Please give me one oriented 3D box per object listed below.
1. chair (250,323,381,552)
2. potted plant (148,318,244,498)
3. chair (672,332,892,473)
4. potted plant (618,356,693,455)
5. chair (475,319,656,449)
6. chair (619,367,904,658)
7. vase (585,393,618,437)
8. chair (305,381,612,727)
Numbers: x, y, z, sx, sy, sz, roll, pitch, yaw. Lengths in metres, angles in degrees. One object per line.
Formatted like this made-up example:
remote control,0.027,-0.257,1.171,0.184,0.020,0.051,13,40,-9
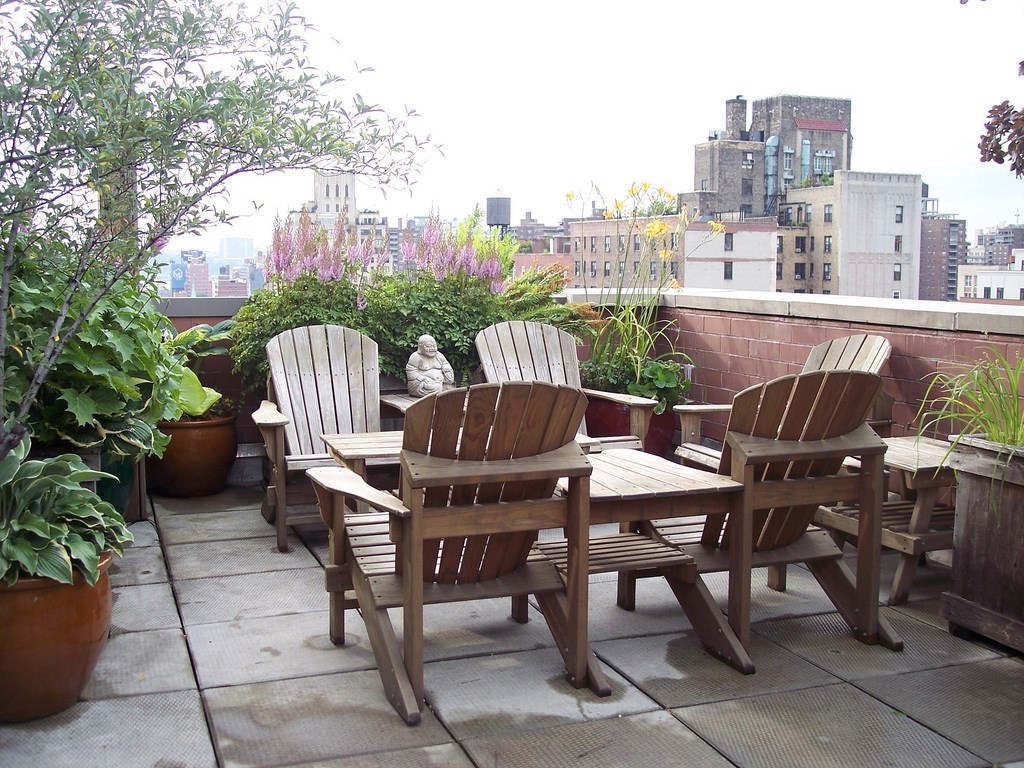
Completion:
chair,-1.200,0.305,4.496,0.930,1.258,1.143,0,7,-23
potted plant,-2.292,0.179,5.145,0.602,1.286,0.771,-5,7,-43
chair,1.529,-0.050,4.053,1.211,0.923,0.859,-3,7,-17
potted plant,1.295,0.153,5.752,0.638,0.897,0.658,5,-1,40
chair,0.390,0.057,4.713,0.838,0.794,1.136,-1,7,-27
chair,1.086,0.540,3.264,0.909,1.089,1.224,-1,-2,-9
vase,0.680,0.223,5.529,0.306,0.381,0.296,-1,10,-6
chair,-0.243,0.544,2.703,0.932,1.039,1.058,1,-3,-16
